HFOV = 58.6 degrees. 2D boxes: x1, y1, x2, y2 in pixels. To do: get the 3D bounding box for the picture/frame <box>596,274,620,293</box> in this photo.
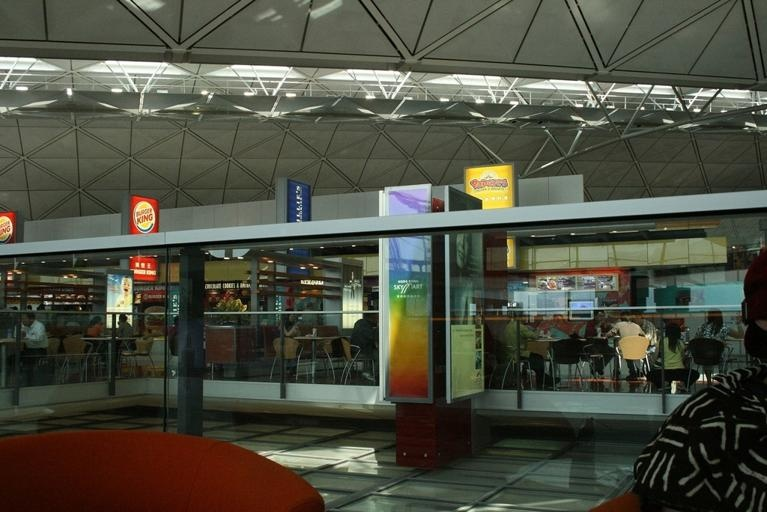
[{"bbox_3d":[2.635,0.334,8.083,0.291,0.183,0.088,1,-4,6],"label":"picture/frame"}]
